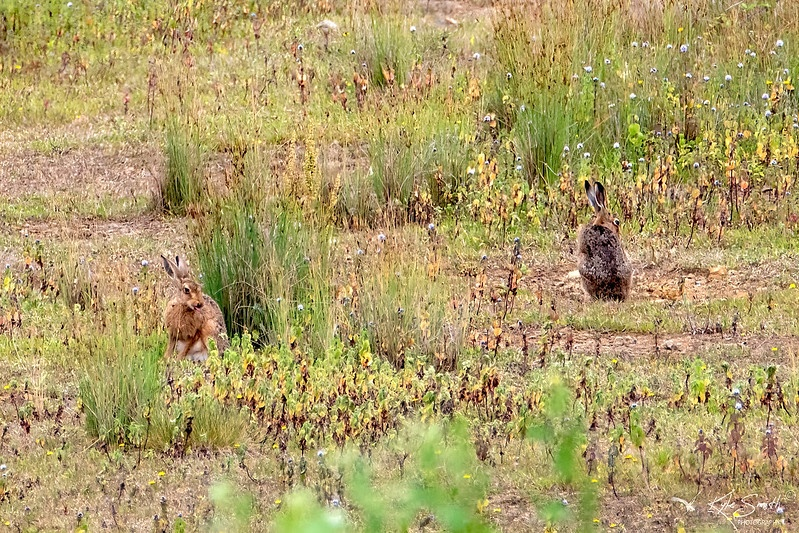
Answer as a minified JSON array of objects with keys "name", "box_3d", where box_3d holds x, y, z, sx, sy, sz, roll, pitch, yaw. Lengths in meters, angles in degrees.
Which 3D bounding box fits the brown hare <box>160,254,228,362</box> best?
[{"name":"brown hare","box_3d":[-1.988,0.405,12.760,0.588,0.818,0.645,-13,47,-5]}]
